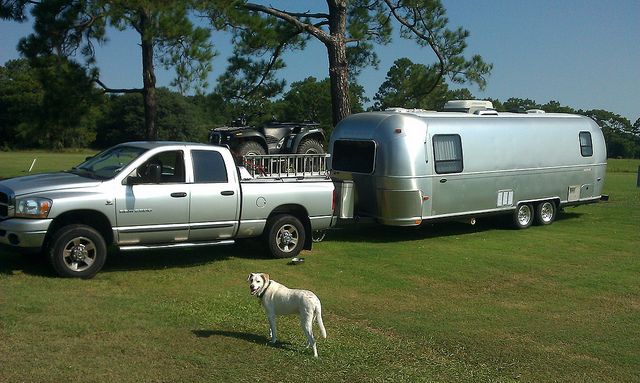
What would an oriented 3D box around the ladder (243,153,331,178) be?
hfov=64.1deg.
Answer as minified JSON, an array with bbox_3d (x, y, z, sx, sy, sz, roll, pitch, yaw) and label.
[{"bbox_3d":[-0.975,-0.687,13.911,2.467,0.584,0.758,-1,0,3],"label":"ladder"}]

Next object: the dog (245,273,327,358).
[{"bbox_3d":[-0.584,2.212,9.253,1.739,1.156,0.546,7,2,30],"label":"dog"}]

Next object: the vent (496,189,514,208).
[{"bbox_3d":[5.858,0.206,16.318,0.613,0.400,0.078,-3,5,-35],"label":"vent"}]

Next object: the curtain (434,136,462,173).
[{"bbox_3d":[3.727,-1.092,15.136,1.119,1.154,0.087,4,-13,-34],"label":"curtain"}]

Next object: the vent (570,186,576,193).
[{"bbox_3d":[8.843,-0.061,17.980,0.186,0.169,0.045,2,-4,5],"label":"vent"}]

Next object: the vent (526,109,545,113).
[{"bbox_3d":[7.582,-2.844,18.070,0.501,0.111,0.278,-1,4,12],"label":"vent"}]

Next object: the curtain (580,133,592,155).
[{"bbox_3d":[9.418,-1.694,18.195,0.799,1.015,0.076,-4,4,-31],"label":"curtain"}]
